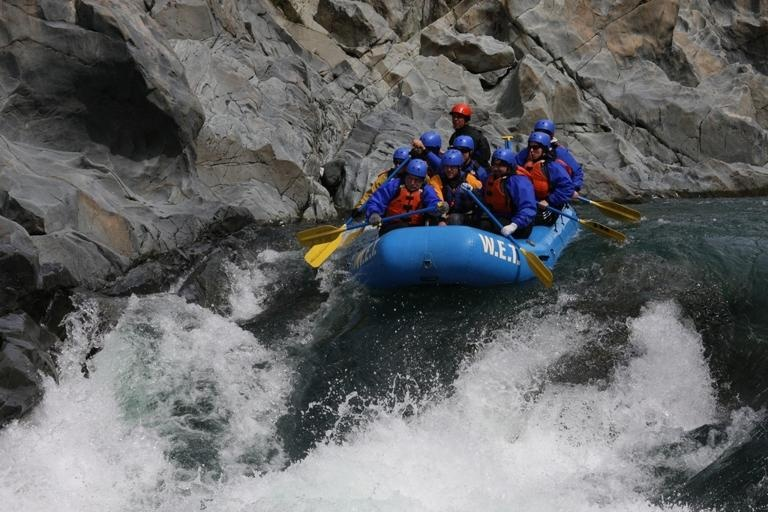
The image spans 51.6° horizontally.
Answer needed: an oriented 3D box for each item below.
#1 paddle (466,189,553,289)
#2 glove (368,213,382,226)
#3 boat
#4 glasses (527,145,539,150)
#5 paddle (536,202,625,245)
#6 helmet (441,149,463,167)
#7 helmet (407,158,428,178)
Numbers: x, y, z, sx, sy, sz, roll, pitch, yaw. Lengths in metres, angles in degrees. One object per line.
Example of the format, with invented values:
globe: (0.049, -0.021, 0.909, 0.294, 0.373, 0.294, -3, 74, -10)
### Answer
paddle: (1.745, -0.213, 11.155, 0.159, 0.256, 2.225, 25, 21, -36)
glove: (-0.143, -0.527, 11.322, 0.132, 0.067, 0.178, -13, 20, 0)
boat: (1.043, 0.027, 12.672, 2.439, 0.924, 4.461, 0, 0, 9)
glasses: (2.297, -1.686, 12.201, 0.086, 0.031, 0.081, 13, -10, -40)
paddle: (3.042, -0.502, 12.308, 1.287, 0.152, 0.105, 34, 31, 22)
helmet: (1.024, -1.447, 11.788, 0.271, 0.234, 0.212, 18, 3, -32)
helmet: (0.464, -1.243, 11.463, 0.299, 0.284, 0.285, -12, 36, -2)
